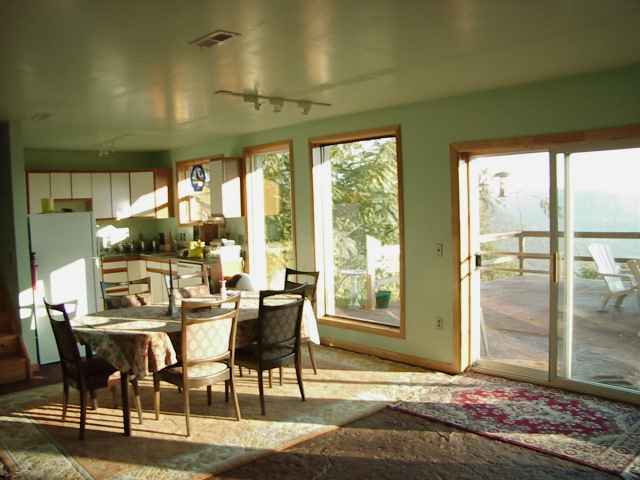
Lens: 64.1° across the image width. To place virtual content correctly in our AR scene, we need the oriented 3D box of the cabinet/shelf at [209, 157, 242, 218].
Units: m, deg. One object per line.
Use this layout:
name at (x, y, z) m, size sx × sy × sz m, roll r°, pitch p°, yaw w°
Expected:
cabinet/shelf at (-1.488, -0.824, 8.035) m, size 0.501 × 0.914 × 0.404 m, roll -3°, pitch 11°, yaw -3°

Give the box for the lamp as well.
lamp at (-0.529, -1.511, 5.654) m, size 0.581 × 0.192 × 1.403 m, roll 6°, pitch 12°, yaw 41°

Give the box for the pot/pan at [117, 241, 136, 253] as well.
pot/pan at (-3.758, 0.130, 9.906) m, size 0.252 × 0.209 × 0.236 m, roll -2°, pitch 2°, yaw -25°

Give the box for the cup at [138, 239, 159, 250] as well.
cup at (-3.404, 0.108, 10.133) m, size 0.358 × 0.294 × 0.174 m, roll -5°, pitch -3°, yaw 6°

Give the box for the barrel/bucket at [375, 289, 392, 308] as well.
barrel/bucket at (0.816, 0.775, 6.637) m, size 0.243 × 0.214 × 0.220 m, roll 0°, pitch -7°, yaw 5°
